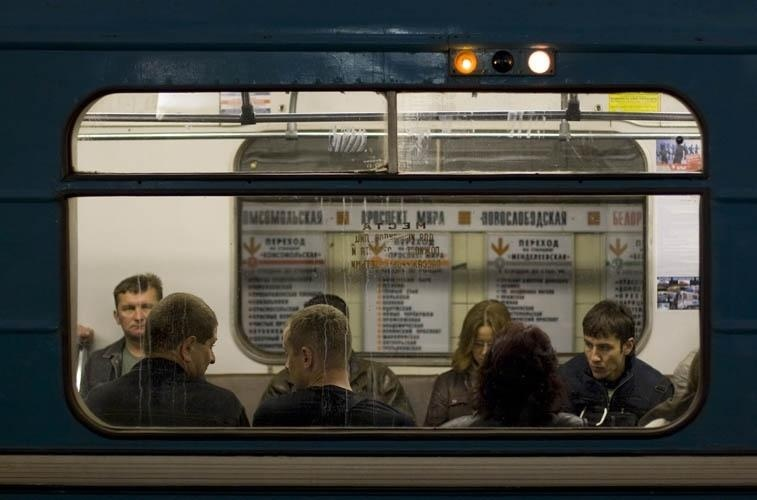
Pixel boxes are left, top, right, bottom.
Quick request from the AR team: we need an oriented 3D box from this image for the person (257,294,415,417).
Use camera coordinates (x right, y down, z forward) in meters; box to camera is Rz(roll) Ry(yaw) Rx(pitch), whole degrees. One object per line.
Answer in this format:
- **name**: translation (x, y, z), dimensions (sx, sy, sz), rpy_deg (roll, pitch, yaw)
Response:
- **person**: translation (-0.303, 0.697, 9.947), dimensions (0.508, 0.722, 0.955), rpy_deg (3, 0, 42)

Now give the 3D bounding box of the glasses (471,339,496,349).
- **glasses**: translation (0.580, 0.512, 9.800), dimensions (0.129, 0.075, 0.056), rpy_deg (2, 38, 1)

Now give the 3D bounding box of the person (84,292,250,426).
- **person**: translation (-1.104, 0.655, 9.958), dimensions (1.144, 0.869, 0.672), rpy_deg (4, 4, 5)
